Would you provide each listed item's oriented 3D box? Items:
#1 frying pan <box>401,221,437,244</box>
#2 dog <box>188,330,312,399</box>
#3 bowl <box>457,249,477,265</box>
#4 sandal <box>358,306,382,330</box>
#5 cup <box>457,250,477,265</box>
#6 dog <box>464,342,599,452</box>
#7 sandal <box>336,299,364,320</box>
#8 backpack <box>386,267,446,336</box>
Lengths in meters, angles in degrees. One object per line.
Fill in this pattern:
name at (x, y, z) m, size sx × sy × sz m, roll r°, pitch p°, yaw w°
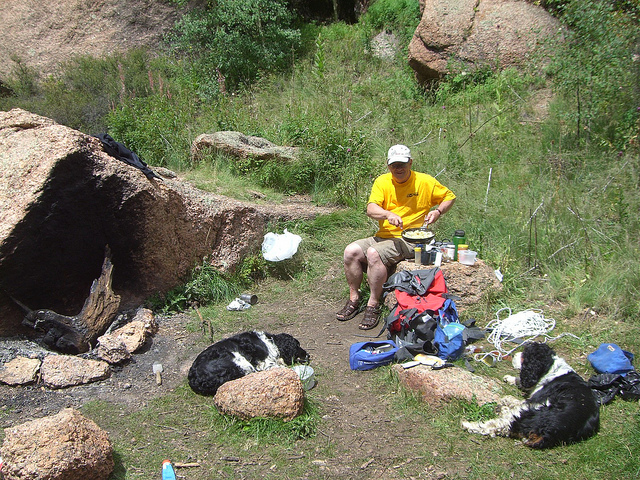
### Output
frying pan at (1.196, -0.079, 7.886) m, size 0.392 × 0.210 × 0.356 m, roll -9°, pitch 36°, yaw -24°
dog at (-0.812, 1.177, 6.928) m, size 0.956 × 0.366 × 0.639 m, roll -18°, pitch 5°, yaw -16°
bowl at (1.780, 0.201, 7.777) m, size 0.170 × 0.127 × 0.186 m, roll 1°, pitch -5°, yaw 0°
sandal at (0.613, 0.931, 7.843) m, size 0.154 × 0.157 × 0.349 m, roll 7°, pitch 22°, yaw 33°
cup at (1.779, 0.213, 7.886) m, size 0.178 × 0.122 × 0.180 m, roll 1°, pitch 1°, yaw 0°
dog at (2.169, 1.661, 6.327) m, size 1.017 × 0.640 × 0.948 m, roll -24°, pitch 43°, yaw -39°
sandal at (0.378, 0.856, 8.047) m, size 0.362 × 0.165 × 0.154 m, roll -12°, pitch 17°, yaw -36°
backpack at (1.186, 0.660, 7.405) m, size 0.799 × 0.359 × 0.847 m, roll -9°, pitch 42°, yaw 27°
